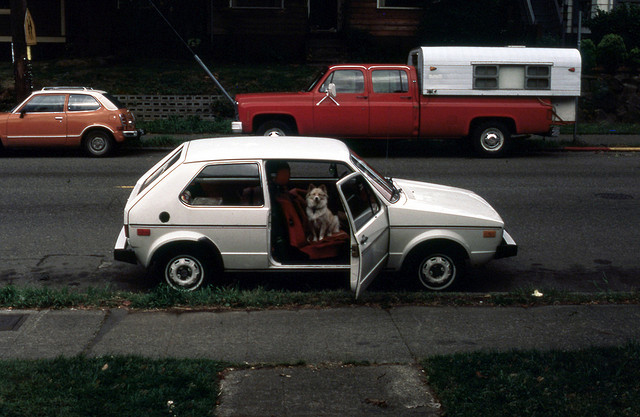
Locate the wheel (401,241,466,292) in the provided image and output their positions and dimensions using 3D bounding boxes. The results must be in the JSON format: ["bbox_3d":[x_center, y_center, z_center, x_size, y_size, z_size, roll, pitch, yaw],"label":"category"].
[{"bbox_3d":[1.735,0.904,10.198,1.429,0.968,0.640,0,1,1],"label":"wheel"}]

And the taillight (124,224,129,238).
[{"bbox_3d":[-2.908,0.329,9.981,0.038,0.237,0.177,-11,22,-25],"label":"taillight"}]

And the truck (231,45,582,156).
[{"bbox_3d":[2.451,-3.087,20.558,9.967,3.391,3.566,0,4,0],"label":"truck"}]

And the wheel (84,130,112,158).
[{"bbox_3d":[-6.428,-1.902,19.224,0.676,0.680,0.260,4,20,-4],"label":"wheel"}]

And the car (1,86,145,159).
[{"bbox_3d":[-7.204,-2.481,19.497,3.499,1.492,2.056,2,12,-4],"label":"car"}]

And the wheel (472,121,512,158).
[{"bbox_3d":[5.037,-2.062,19.553,0.924,0.919,0.308,-4,16,1],"label":"wheel"}]

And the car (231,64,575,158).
[{"bbox_3d":[2.400,-3.220,20.381,9.726,2.708,3.344,0,20,-5],"label":"car"}]

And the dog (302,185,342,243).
[{"bbox_3d":[0.005,0.053,10.326,0.535,0.858,0.758,5,10,18],"label":"dog"}]
